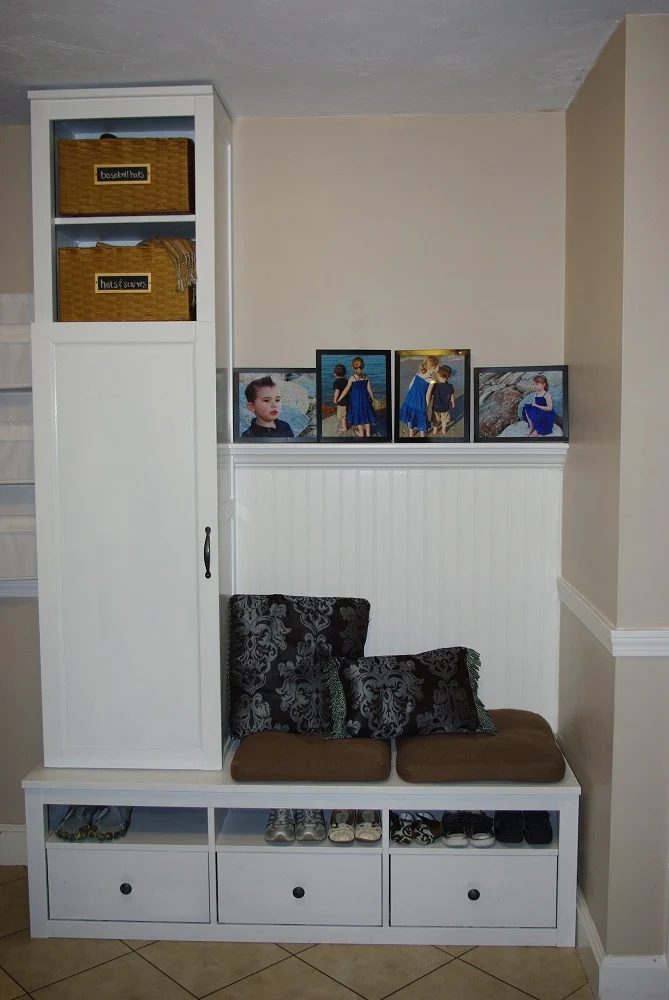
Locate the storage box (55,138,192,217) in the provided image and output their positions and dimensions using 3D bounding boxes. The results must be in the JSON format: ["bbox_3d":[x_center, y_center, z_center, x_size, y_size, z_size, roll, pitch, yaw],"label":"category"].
[{"bbox_3d":[-0.600,-0.926,2.523,0.383,0.231,0.211,0,2,1],"label":"storage box"}]

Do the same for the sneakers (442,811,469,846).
[{"bbox_3d":[0.345,0.941,2.519,0.053,0.061,0.162,-2,-11,2],"label":"sneakers"}]

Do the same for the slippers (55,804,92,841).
[{"bbox_3d":[-0.754,0.946,2.576,0.078,0.022,0.092,1,39,6],"label":"slippers"}]

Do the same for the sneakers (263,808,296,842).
[{"bbox_3d":[-0.152,0.929,2.516,0.055,0.078,0.175,1,-14,-1],"label":"sneakers"}]

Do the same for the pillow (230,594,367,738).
[{"bbox_3d":[-0.119,0.527,2.705,0.352,0.416,0.145,1,-21,-1],"label":"pillow"}]

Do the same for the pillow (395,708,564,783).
[{"bbox_3d":[0.419,0.722,2.629,0.473,0.105,0.418,-2,8,4],"label":"pillow"}]

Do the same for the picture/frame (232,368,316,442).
[{"bbox_3d":[-0.192,-0.315,2.891,0.214,0.205,0.023,1,1,-2],"label":"picture/frame"}]

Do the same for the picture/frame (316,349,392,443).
[{"bbox_3d":[0.070,-0.343,2.860,0.268,0.362,0.014,0,0,-2],"label":"picture/frame"}]

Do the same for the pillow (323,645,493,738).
[{"bbox_3d":[0.219,0.584,2.635,0.398,0.258,0.126,-4,-25,-3],"label":"pillow"}]

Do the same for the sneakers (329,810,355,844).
[{"bbox_3d":[0.023,0.937,2.524,0.054,0.047,0.162,0,-7,0],"label":"sneakers"}]

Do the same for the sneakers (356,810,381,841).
[{"bbox_3d":[0.098,0.932,2.516,0.071,0.046,0.163,-1,-5,-1],"label":"sneakers"}]

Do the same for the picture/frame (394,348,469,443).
[{"bbox_3d":[0.322,-0.334,2.856,0.269,0.362,0.023,0,0,4],"label":"picture/frame"}]

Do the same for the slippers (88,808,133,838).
[{"bbox_3d":[-0.646,0.929,2.571,0.075,0.065,0.086,3,-6,-36],"label":"slippers"}]

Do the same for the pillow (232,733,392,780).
[{"bbox_3d":[-0.066,0.743,2.554,0.449,0.093,0.223,-2,8,3],"label":"pillow"}]
